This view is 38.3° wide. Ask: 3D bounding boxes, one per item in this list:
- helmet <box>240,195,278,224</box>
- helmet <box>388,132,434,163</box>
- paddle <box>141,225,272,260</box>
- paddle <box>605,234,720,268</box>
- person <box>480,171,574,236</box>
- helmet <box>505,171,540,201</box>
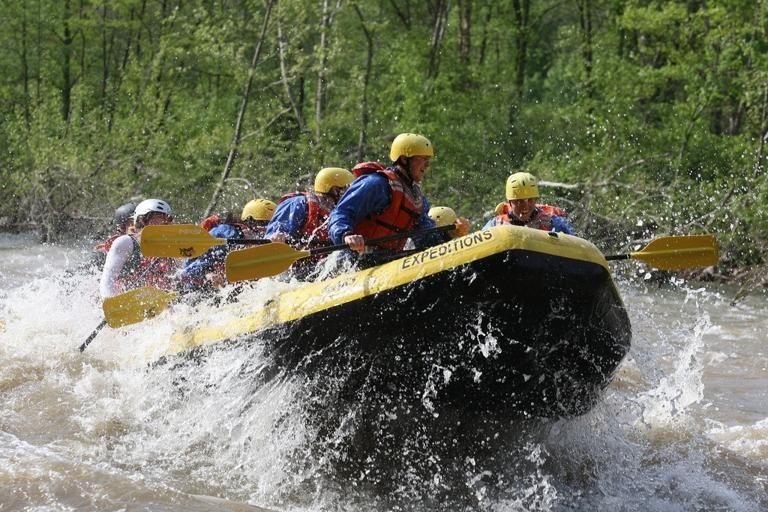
[{"bbox_3d":[-2.646,-0.980,23.519,0.630,0.374,0.480,-10,9,-43],"label":"helmet"},{"bbox_3d":[0.536,-2.120,21.284,0.702,0.387,0.520,0,5,5],"label":"helmet"},{"bbox_3d":[-3.180,-0.275,21.182,3.145,0.704,0.204,1,-16,10],"label":"paddle"},{"bbox_3d":[4.992,0.007,20.649,2.654,0.703,0.293,-2,25,-20],"label":"paddle"},{"bbox_3d":[2.806,-0.918,22.059,2.186,1.275,0.987,-2,2,12],"label":"person"},{"bbox_3d":[2.719,-1.418,21.730,0.506,0.482,0.619,1,-28,0],"label":"helmet"}]
